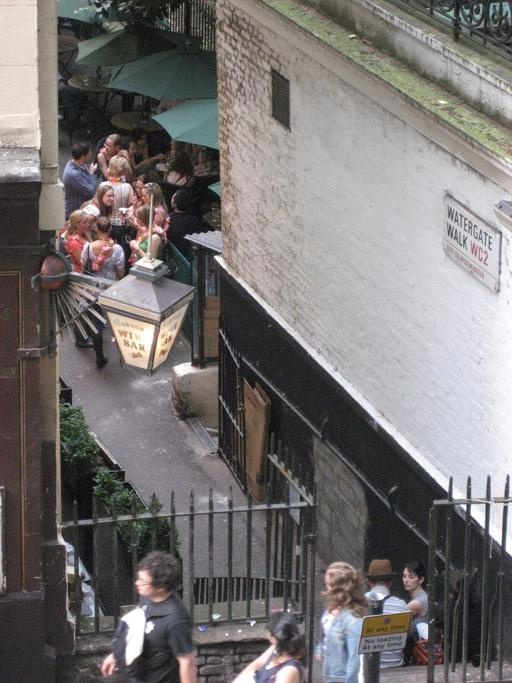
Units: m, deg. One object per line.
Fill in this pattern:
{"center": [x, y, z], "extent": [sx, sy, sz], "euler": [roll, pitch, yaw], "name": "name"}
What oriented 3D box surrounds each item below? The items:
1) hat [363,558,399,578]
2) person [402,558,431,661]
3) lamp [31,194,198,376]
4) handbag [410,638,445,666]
{"center": [0.896, 1.596, 12.975], "extent": [0.282, 0.154, 0.338], "euler": [-1, -5, -1], "name": "hat"}
{"center": [1.054, 1.879, 12.418], "extent": [0.244, 0.873, 0.246], "euler": [0, 26, 11], "name": "person"}
{"center": [-0.903, -0.362, 10.932], "extent": [0.945, 1.004, 0.439], "euler": [12, 24, 21], "name": "lamp"}
{"center": [1.099, 2.005, 11.838], "extent": [0.156, 0.226, 0.303], "euler": [-5, -15, -15], "name": "handbag"}
